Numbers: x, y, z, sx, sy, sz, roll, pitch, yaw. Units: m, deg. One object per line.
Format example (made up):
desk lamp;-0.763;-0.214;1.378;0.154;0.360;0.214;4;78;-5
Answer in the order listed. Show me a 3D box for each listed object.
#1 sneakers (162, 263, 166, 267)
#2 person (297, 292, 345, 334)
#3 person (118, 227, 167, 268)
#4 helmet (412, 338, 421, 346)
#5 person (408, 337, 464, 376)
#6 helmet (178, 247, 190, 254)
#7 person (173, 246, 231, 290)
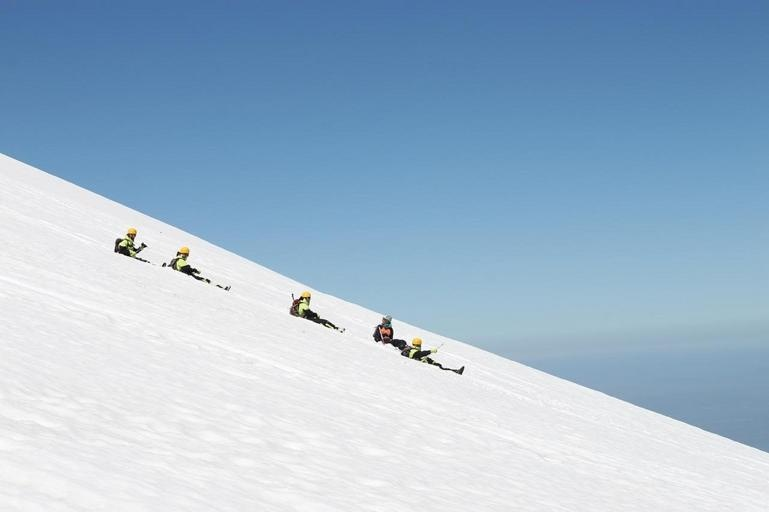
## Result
sneakers;-7.576;0.322;34.193;0.127;0.131;0.041;10;0;-16
person;-2.224;1.951;34.404;2.286;0.914;0.917;20;-11;-21
person;-8.449;-0.249;34.459;1.986;1.002;0.808;14;-4;-24
helmet;1.047;2.872;33.394;0.308;0.227;0.267;1;9;-42
person;1.300;3.258;32.947;2.742;0.790;0.972;11;6;16
helmet;-7.566;-0.185;37.414;0.341;0.303;0.388;4;5;-6
person;-6.490;0.513;35.241;2.361;0.910;1.027;20;-6;-21
